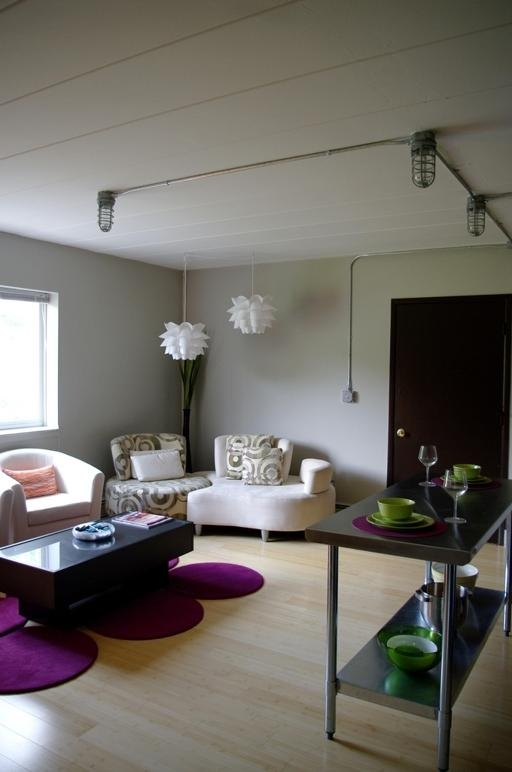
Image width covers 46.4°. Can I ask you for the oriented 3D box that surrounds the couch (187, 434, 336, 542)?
[{"bbox_3d":[0.137,0.708,5.060,0.987,0.636,0.897,-1,-4,26],"label":"couch"}]

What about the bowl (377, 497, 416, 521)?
[{"bbox_3d":[0.489,0.413,2.100,0.111,0.059,0.114,-1,-7,0],"label":"bowl"}]

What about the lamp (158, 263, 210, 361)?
[{"bbox_3d":[-0.584,-0.647,4.860,0.414,0.842,0.397,2,2,21],"label":"lamp"}]

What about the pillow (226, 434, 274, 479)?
[{"bbox_3d":[-0.132,0.665,5.587,0.416,0.391,0.124,0,-11,1],"label":"pillow"}]

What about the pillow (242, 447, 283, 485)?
[{"bbox_3d":[0.062,0.707,5.221,0.301,0.302,0.108,-1,-27,11],"label":"pillow"}]

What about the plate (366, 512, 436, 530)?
[{"bbox_3d":[0.500,0.470,2.073,0.228,0.025,0.200,1,1,21],"label":"plate"}]

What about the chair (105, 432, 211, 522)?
[{"bbox_3d":[-0.923,0.784,5.166,0.778,0.556,0.759,2,-5,-37],"label":"chair"}]

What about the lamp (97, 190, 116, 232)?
[{"bbox_3d":[-0.867,-0.991,3.443,0.101,0.216,0.191,0,0,-14],"label":"lamp"}]

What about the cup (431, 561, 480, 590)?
[{"bbox_3d":[0.880,0.835,2.643,0.213,0.102,0.214,0,-4,0],"label":"cup"}]

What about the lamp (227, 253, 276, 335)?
[{"bbox_3d":[-0.028,-0.803,4.874,0.402,0.735,0.401,-2,0,21],"label":"lamp"}]
